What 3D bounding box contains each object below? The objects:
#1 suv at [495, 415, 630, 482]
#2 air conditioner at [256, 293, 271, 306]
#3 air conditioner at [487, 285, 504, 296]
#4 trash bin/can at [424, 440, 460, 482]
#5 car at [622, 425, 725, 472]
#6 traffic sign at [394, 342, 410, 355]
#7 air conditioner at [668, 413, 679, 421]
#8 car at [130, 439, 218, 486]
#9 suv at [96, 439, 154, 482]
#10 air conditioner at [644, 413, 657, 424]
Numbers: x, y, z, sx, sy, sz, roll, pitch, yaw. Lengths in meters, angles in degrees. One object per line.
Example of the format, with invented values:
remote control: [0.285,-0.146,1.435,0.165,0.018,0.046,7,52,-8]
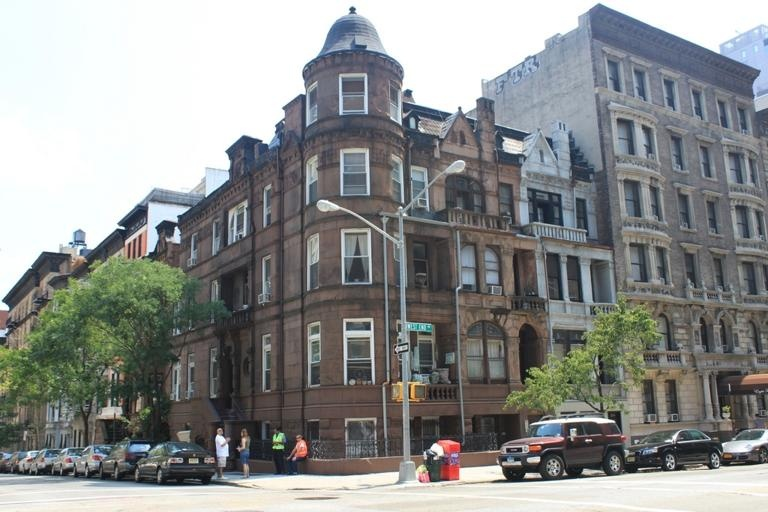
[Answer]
suv: [9.368,9.961,41.046,5.634,2.416,3.260,13,-27,-27]
air conditioner: [-8.015,2.863,51.980,0.720,0.870,1.315,9,-17,-33]
air conditioner: [7.369,2.518,51.499,1.109,0.677,0.621,7,-14,-34]
trash bin/can: [3.113,10.720,40.821,1.685,2.118,0.804,-2,-21,1]
car: [15.880,10.688,42.763,6.765,2.193,2.766,5,-11,-32]
traffic sign: [0.950,4.894,41.144,1.354,0.764,0.182,-1,-1,30]
air conditioner: [21.496,12.000,57.779,0.545,0.528,0.830,-11,-16,41]
car: [-11.651,11.408,42.845,2.746,2.168,6.368,6,-11,-36]
suv: [-15.631,12.239,46.469,2.662,2.335,5.738,7,-12,-38]
air conditioner: [19.449,11.820,56.784,0.712,0.663,0.696,5,-15,-19]
